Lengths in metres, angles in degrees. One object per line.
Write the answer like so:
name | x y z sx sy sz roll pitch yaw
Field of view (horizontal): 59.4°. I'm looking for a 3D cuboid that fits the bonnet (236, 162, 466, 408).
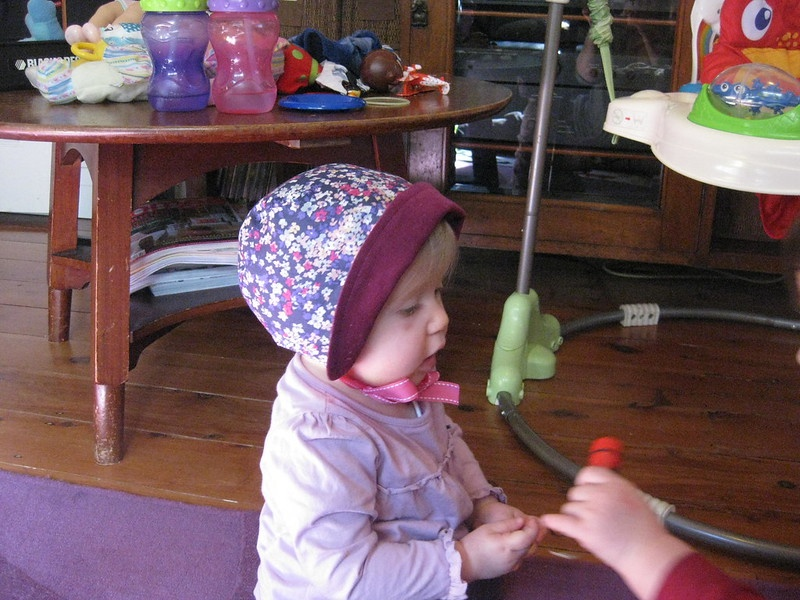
bonnet | -0.055 -0.011 0.948 0.308 0.310 0.207 -4 25 -11
